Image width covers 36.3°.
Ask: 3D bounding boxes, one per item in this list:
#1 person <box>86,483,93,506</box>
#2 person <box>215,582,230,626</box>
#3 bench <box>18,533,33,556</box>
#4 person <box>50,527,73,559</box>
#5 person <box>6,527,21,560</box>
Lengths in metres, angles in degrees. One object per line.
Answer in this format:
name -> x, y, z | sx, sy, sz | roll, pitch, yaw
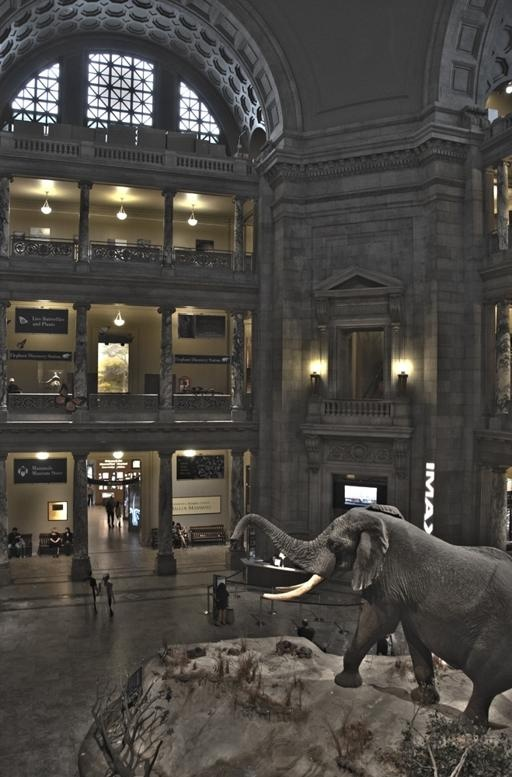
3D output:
person -> -7.755, 4.897, 36.065 | 0.175, 0.894, 0.515 | -1, -2, -5
person -> -0.838, 4.929, 18.037 | 0.283, 0.885, 0.427 | -1, -2, -4
bench -> -7.660, 5.106, 25.661 | 0.433, 0.649, 0.589 | 2, -8, -18
person -> -6.536, 5.038, 25.700 | 0.729, 0.843, 0.585 | 0, -2, -23
person -> -7.959, 4.992, 25.383 | 0.398, 0.912, 0.366 | 0, -2, -15
